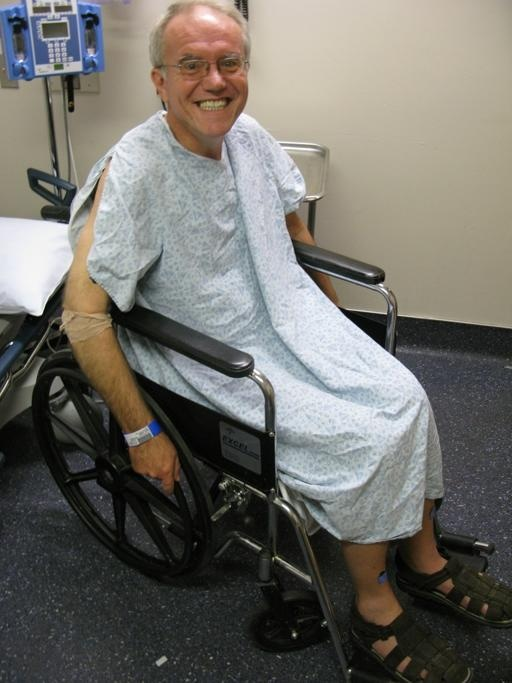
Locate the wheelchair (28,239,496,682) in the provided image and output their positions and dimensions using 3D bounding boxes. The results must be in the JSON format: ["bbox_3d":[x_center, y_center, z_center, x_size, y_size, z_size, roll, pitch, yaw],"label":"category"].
[{"bbox_3d":[0.050,0.088,1.588,1.266,1.100,0.740,22,34,38],"label":"wheelchair"}]

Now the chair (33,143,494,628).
[{"bbox_3d":[-0.122,0.026,1.752,1.256,1.125,0.733,22,32,36],"label":"chair"}]

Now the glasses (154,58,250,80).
[{"bbox_3d":[-0.101,-0.516,1.035,0.173,0.034,0.084,-4,24,-3],"label":"glasses"}]
